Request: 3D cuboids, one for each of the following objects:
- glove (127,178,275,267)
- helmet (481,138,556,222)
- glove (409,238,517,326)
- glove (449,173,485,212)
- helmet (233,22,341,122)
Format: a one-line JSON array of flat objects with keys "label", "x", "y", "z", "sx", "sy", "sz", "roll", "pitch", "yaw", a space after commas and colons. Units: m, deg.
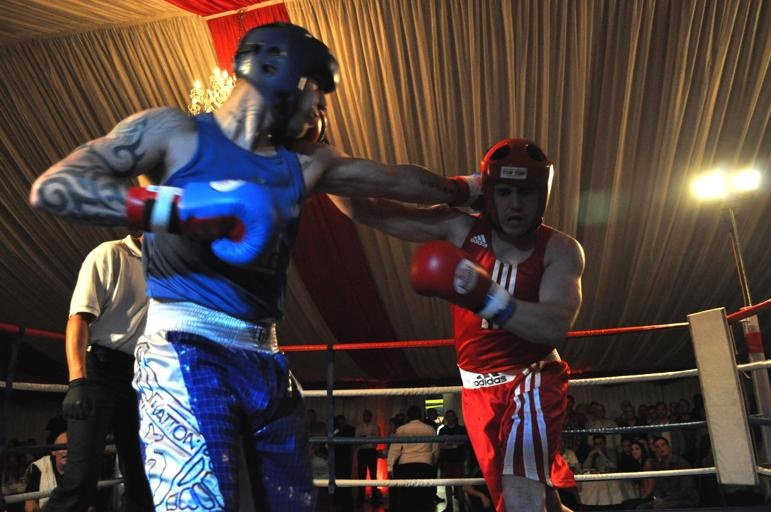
[{"label": "glove", "x": -0.650, "y": -0.132, "z": 2.175, "sx": 0.435, "sy": 0.313, "sz": 0.165, "roll": 9, "pitch": -10, "yaw": 2}, {"label": "helmet", "x": 0.714, "y": -0.455, "z": 3.338, "sx": 0.364, "sy": 0.429, "sz": 0.463, "roll": 5, "pitch": 5, "yaw": 8}, {"label": "glove", "x": 0.345, "y": 0.138, "z": 2.900, "sx": 0.490, "sy": 0.330, "sz": 0.190, "roll": 20, "pitch": -30, "yaw": 4}, {"label": "glove", "x": 0.472, "y": -0.359, "z": 3.165, "sx": 0.226, "sy": 0.101, "sz": 0.140, "roll": 15, "pitch": -18, "yaw": 17}, {"label": "helmet", "x": -0.413, "y": -0.791, "z": 2.559, "sx": 0.423, "sy": 0.399, "sz": 0.347, "roll": 5, "pitch": 9, "yaw": -9}]
